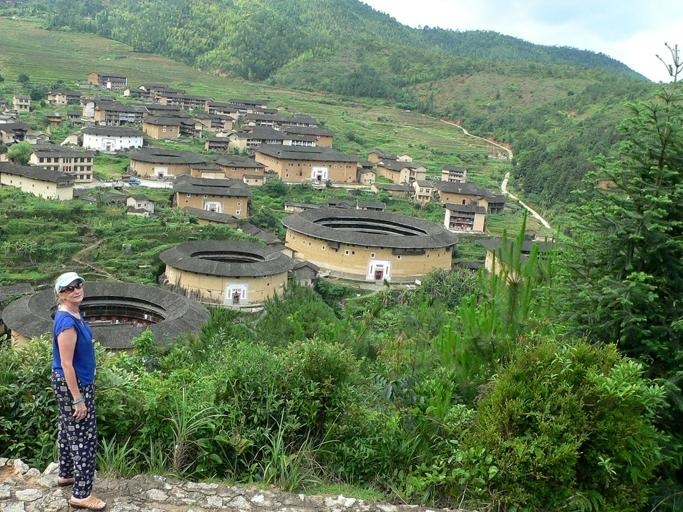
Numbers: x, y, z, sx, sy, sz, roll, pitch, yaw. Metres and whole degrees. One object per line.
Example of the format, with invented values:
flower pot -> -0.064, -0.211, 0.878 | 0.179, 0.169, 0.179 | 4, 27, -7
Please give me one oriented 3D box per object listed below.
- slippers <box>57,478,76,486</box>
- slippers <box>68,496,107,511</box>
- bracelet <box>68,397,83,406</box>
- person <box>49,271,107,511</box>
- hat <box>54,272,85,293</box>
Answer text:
slippers -> -1.859, 1.522, 3.985 | 0.124, 0.050, 0.050 | -3, -16, 23
slippers -> -1.635, 1.579, 3.793 | 0.178, 0.071, 0.100 | 1, -2, 2
bracelet -> -1.740, 0.941, 3.852 | 0.060, 0.024, 0.060 | -22, -7, 24
person -> -1.751, 0.863, 3.886 | 0.265, 1.488, 0.526 | -4, 8, -27
hat -> -1.858, 0.185, 3.959 | 0.136, 0.063, 0.183 | -12, 2, -41
